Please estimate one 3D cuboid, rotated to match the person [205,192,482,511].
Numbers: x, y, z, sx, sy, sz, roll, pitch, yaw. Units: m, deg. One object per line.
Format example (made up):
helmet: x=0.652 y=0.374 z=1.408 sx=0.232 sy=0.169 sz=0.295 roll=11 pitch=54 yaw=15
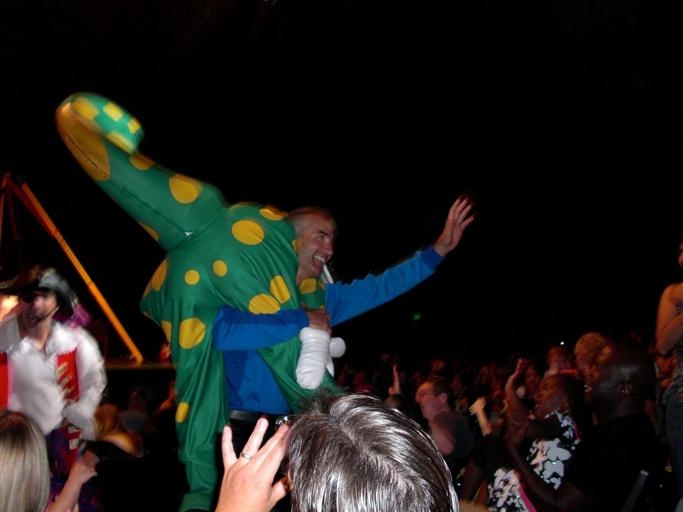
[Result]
person: x=-0.044 y=0.335 z=2.885 sx=1.178 sy=1.779 sz=0.644 roll=18 pitch=-31 yaw=-13
